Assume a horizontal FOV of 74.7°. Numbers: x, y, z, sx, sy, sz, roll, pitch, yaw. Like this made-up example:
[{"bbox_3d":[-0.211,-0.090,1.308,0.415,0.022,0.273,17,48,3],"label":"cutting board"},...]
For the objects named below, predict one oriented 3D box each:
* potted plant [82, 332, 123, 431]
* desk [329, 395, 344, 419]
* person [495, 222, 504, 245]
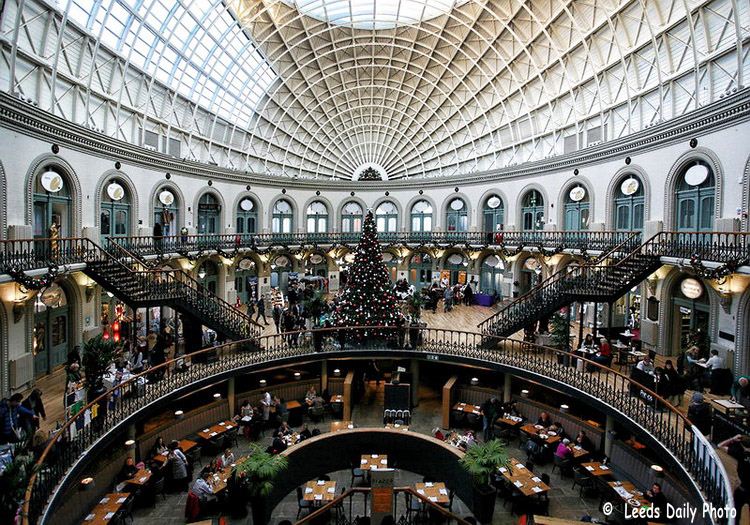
[{"bbox_3d":[-10.838,4.721,19.427,1.084,3.191,2.340,-3,3,-31],"label":"potted plant"},{"bbox_3d":[-1.953,7.260,24.728,0.757,0.629,1.258,1,12,-1],"label":"desk"},{"bbox_3d":[8.490,-1.892,33.865,0.581,1.451,2.579,-1,3,14],"label":"person"}]
